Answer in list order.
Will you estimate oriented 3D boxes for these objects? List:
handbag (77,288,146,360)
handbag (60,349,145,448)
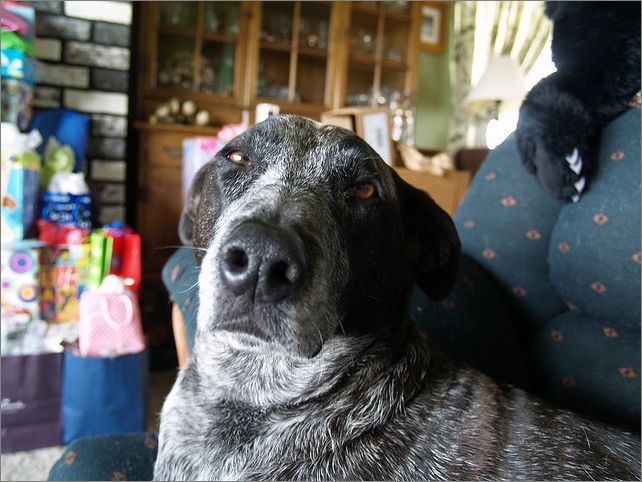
[{"bbox_3d":[-0.944,0.354,2.366,0.250,0.283,0.101,0,-3,-29],"label":"handbag"},{"bbox_3d":[-0.935,0.646,2.255,0.310,0.451,0.237,5,-28,-17],"label":"handbag"}]
